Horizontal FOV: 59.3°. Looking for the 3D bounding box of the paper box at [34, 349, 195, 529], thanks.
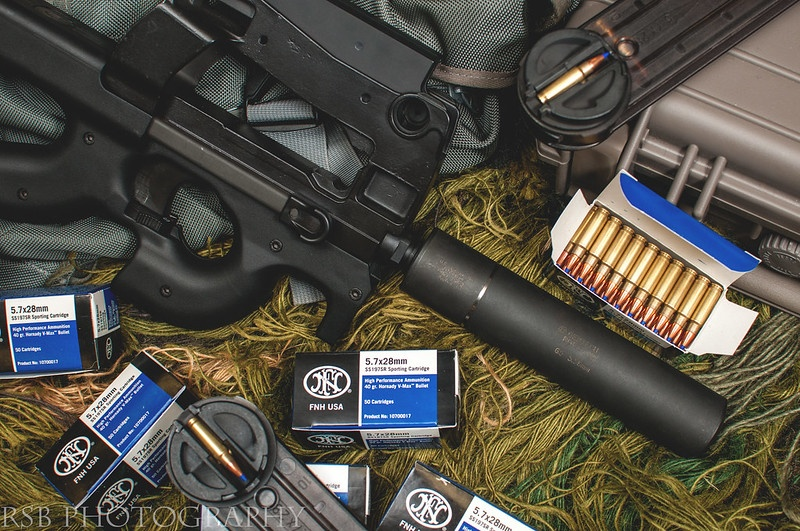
[{"bbox_3d":[-1.090,0.672,2.932,0.530,0.717,0.171,41,3,8],"label":"paper box"}]
